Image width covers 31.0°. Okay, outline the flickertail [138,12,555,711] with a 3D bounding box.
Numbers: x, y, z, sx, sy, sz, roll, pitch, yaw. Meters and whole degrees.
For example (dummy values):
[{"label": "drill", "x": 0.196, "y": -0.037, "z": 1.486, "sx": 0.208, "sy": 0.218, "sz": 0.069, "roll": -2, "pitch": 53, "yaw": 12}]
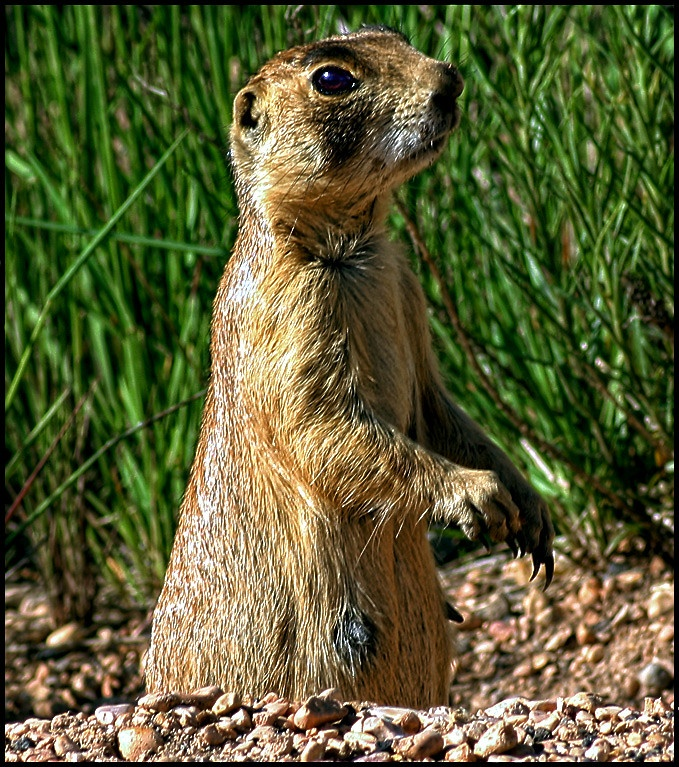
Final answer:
[{"label": "flickertail", "x": -0.047, "y": -0.018, "z": 3.662, "sx": 0.955, "sy": 1.998, "sz": 0.366, "roll": 0, "pitch": 2, "yaw": 9}]
